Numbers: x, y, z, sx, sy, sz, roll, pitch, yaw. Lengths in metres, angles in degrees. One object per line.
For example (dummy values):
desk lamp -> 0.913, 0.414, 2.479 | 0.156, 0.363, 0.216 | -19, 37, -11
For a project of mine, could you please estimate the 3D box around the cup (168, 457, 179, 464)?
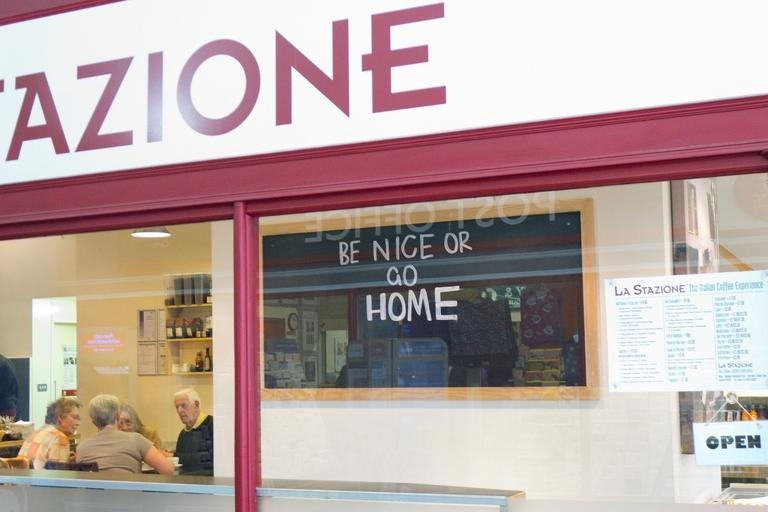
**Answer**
cup -> -0.932, 0.912, 3.808 | 0.030, 0.022, 0.029 | 3, -15, 1

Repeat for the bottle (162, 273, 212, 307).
bottle -> -0.876, 0.150, 3.833 | 0.223, 0.139, 0.023 | -6, -10, 17
